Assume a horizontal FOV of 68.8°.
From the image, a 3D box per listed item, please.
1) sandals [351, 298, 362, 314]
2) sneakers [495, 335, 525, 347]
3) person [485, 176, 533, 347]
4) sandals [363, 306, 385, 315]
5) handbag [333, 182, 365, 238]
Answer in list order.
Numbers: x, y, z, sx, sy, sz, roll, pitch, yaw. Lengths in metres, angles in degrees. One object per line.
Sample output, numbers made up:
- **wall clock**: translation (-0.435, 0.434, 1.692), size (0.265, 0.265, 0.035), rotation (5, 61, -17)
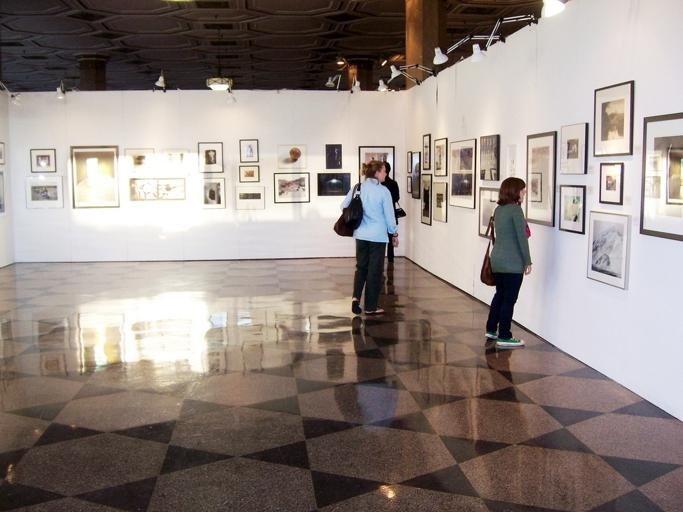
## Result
- **sandals**: translation (0.229, 0.756, 7.371), size (0.115, 0.239, 0.229), rotation (-15, 13, 2)
- **sneakers**: translation (1.974, 1.004, 5.913), size (0.337, 0.139, 0.127), rotation (-1, 4, -1)
- **person**: translation (1.932, 0.086, 5.775), size (0.507, 1.965, 0.400), rotation (4, 11, 29)
- **sandals**: translation (0.498, 0.811, 7.356), size (0.297, 0.128, 0.107), rotation (-4, 6, -9)
- **handbag**: translation (0.124, -0.666, 7.271), size (0.401, 0.777, 0.337), rotation (-1, 10, 0)
